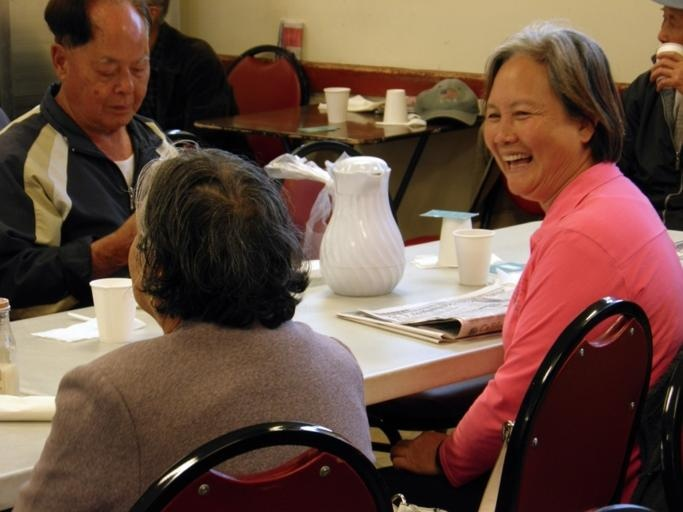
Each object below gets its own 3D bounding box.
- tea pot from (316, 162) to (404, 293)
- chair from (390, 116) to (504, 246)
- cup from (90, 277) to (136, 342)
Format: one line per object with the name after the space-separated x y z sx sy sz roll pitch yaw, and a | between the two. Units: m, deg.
0.065 -0.089 1.753 0.253 0.407 0.252 0 15 0 | tea pot
0.932 -0.524 4.635 0.836 0.835 0.852 2 11 -15 | chair
-0.537 0.134 1.397 0.115 0.134 0.117 -1 6 0 | cup
